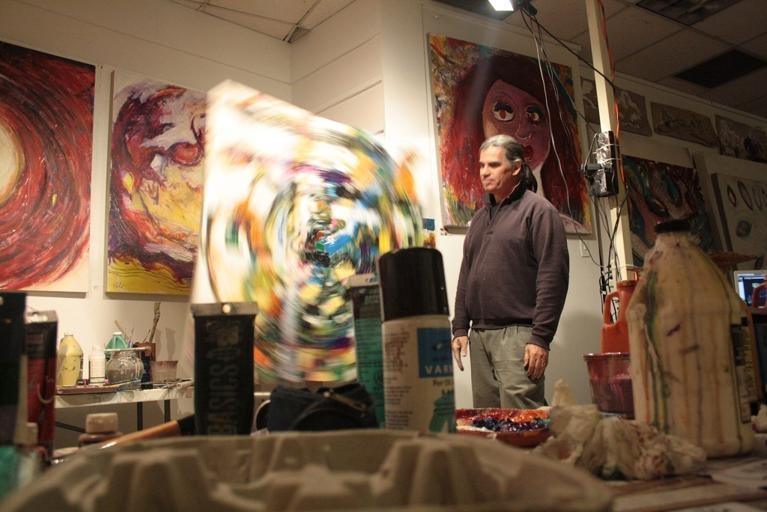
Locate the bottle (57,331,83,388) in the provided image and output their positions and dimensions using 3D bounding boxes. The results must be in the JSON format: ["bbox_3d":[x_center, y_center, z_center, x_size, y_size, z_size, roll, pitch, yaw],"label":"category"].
[{"bbox_3d":[-1.280,0.426,2.420,0.105,0.194,0.112,0,7,0],"label":"bottle"}]

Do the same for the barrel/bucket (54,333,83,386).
[{"bbox_3d":[-1.307,0.430,2.398,0.120,0.203,0.120,2,-3,0],"label":"barrel/bucket"}]

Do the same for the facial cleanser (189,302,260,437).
[{"bbox_3d":[-0.294,0.211,1.093,0.120,0.242,0.063,-2,10,-13],"label":"facial cleanser"}]

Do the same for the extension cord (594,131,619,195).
[{"bbox_3d":[0.897,-0.365,2.376,0.078,0.235,0.051,-3,-4,-26],"label":"extension cord"}]

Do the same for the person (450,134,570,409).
[{"bbox_3d":[0.517,0.081,2.416,0.443,1.129,0.530,2,10,12],"label":"person"}]

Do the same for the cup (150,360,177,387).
[{"bbox_3d":[-0.943,0.512,2.539,0.114,0.089,0.113,-1,-11,0],"label":"cup"}]

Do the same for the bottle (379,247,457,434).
[{"bbox_3d":[0.064,0.171,1.075,0.131,0.368,0.199,-4,11,-25],"label":"bottle"}]

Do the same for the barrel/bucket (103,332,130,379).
[{"bbox_3d":[-1.128,0.428,2.477,0.128,0.218,0.130,0,-12,0],"label":"barrel/bucket"}]

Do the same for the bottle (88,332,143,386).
[{"bbox_3d":[-1.090,0.434,2.482,0.204,0.204,0.201,-7,-12,30],"label":"bottle"}]

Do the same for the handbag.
[{"bbox_3d":[-0.112,0.288,1.085,0.193,0.083,0.131,-3,11,-18],"label":"handbag"}]
